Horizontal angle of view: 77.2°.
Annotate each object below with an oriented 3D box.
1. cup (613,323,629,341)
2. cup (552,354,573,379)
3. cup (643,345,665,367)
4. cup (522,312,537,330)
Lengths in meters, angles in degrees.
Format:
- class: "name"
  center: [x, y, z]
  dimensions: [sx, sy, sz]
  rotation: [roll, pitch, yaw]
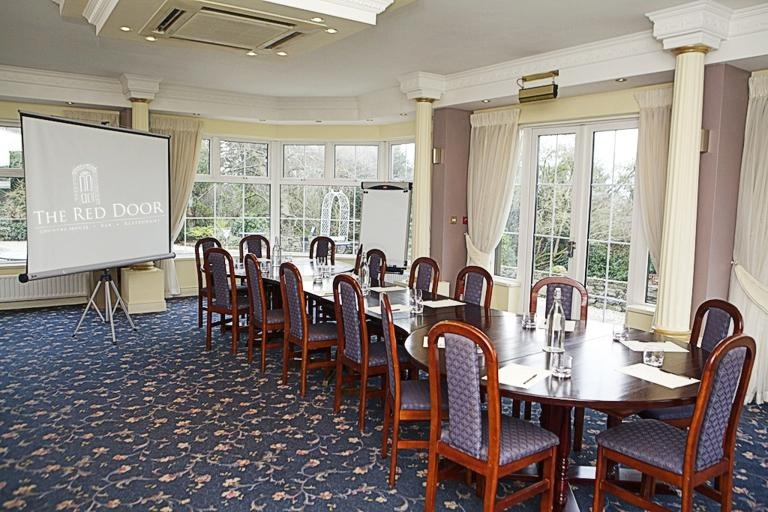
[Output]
- class: "cup"
  center: [2.026, 0.647, 4.123]
  dimensions: [0.146, 0.150, 0.141]
  rotation: [-1, 2, 0]
- class: "cup"
  center: [1.272, 0.777, 3.425]
  dimensions: [0.120, 0.126, 0.184]
  rotation: [0, -2, -3]
- class: "cup"
  center: [2.026, 0.748, 3.607]
  dimensions: [0.135, 0.096, 0.134]
  rotation: [-1, -3, 0]
- class: "cup"
  center: [1.308, 0.595, 4.346]
  dimensions: [0.141, 0.131, 0.124]
  rotation: [-1, 5, 6]
